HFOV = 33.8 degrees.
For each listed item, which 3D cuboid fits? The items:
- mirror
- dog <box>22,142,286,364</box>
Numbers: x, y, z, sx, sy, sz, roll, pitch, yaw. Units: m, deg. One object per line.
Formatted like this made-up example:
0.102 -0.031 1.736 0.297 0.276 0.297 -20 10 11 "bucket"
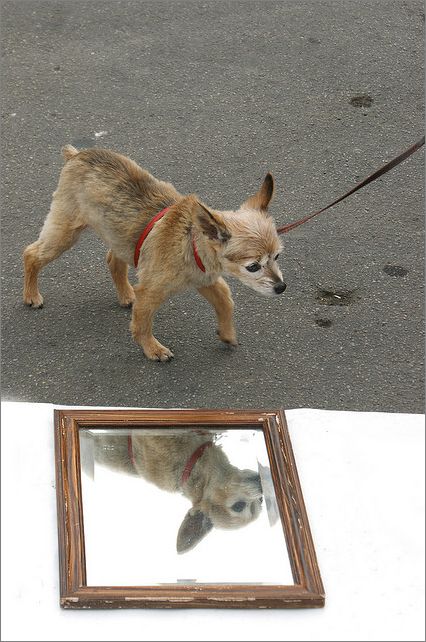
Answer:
-0.094 0.499 1.987 0.733 0.138 0.658 1 47 -8 "mirror"
-0.233 -0.298 3.017 1.137 0.875 0.569 27 52 14 "dog"
